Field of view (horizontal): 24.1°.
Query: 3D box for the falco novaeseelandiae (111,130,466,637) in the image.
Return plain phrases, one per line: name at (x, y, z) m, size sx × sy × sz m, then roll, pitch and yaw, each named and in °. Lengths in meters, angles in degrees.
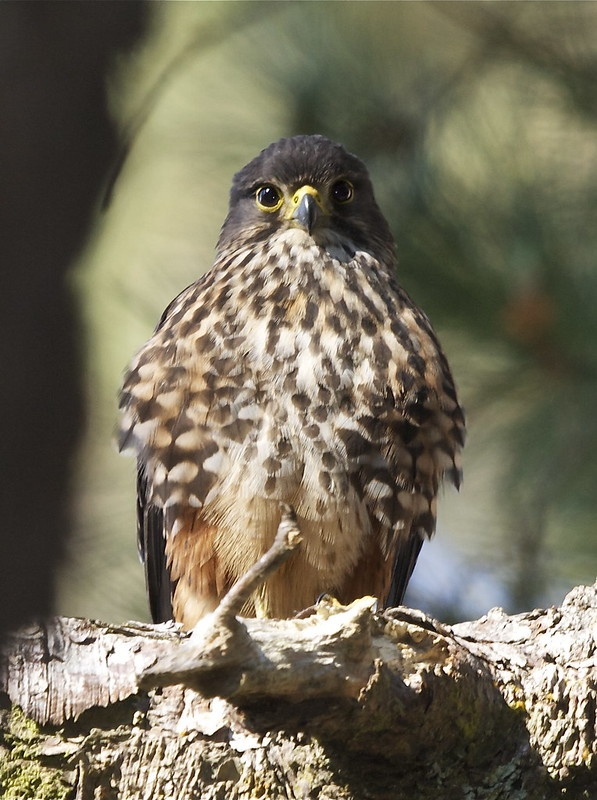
falco novaeseelandiae at (-0.013, -0.086, 4.320) m, size 1.049 × 1.538 × 0.599 m, roll -1°, pitch -17°, yaw 6°
